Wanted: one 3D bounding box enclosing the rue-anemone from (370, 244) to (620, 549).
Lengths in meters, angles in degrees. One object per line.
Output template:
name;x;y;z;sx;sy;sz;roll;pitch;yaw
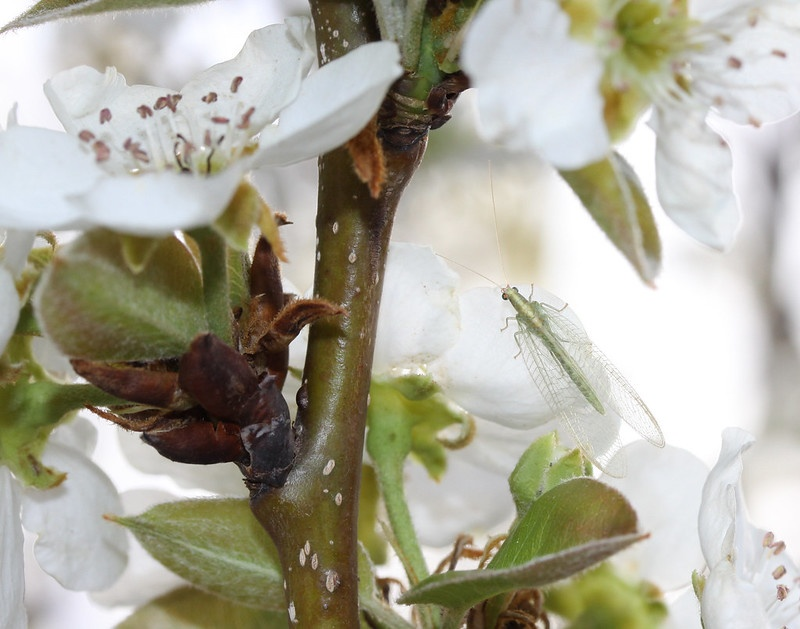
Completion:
rue-anemone;0.097;0.106;1.453;0.252;0.422;0.135;-7;26;-4
